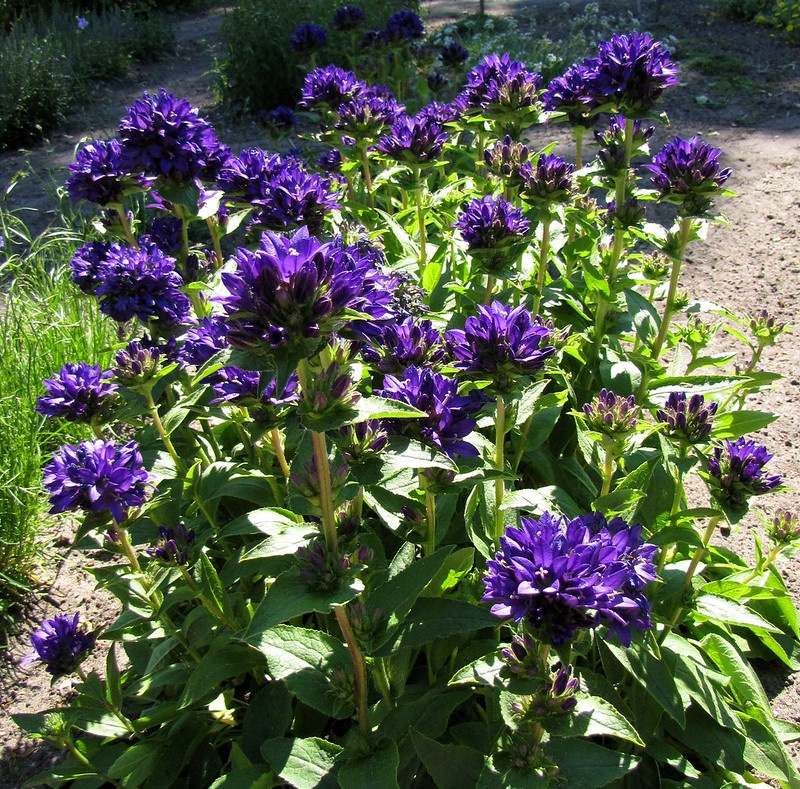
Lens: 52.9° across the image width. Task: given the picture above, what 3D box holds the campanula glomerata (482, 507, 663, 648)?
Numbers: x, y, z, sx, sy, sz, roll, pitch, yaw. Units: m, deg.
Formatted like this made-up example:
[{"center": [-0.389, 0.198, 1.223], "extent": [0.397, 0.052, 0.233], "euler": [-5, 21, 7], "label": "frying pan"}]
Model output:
[{"center": [0.556, 0.588, 2.659], "extent": [0.621, 0.264, 0.519], "euler": [-10, 25, -11], "label": "campanula glomerata"}]

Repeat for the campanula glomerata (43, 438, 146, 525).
[{"center": [-1.263, 0.327, 3.349], "extent": [0.444, 0.233, 0.383], "euler": [1, 9, -17], "label": "campanula glomerata"}]

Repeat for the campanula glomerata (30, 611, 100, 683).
[{"center": [-1.530, 1.143, 3.673], "extent": [0.241, 0.285, 0.259], "euler": [2, 28, 0], "label": "campanula glomerata"}]
